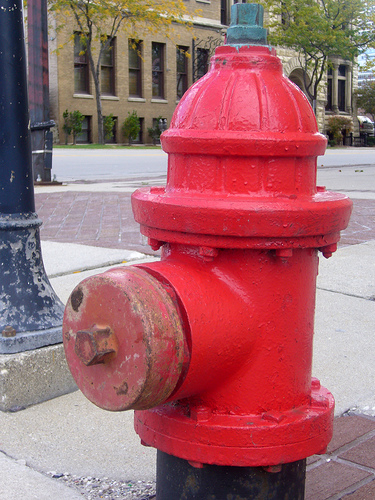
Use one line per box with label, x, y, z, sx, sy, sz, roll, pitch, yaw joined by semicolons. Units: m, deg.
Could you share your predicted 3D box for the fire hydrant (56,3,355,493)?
fire hydrant;0.072;0.032;2.004;0.780;1.333;0.417;-4;9;-16
